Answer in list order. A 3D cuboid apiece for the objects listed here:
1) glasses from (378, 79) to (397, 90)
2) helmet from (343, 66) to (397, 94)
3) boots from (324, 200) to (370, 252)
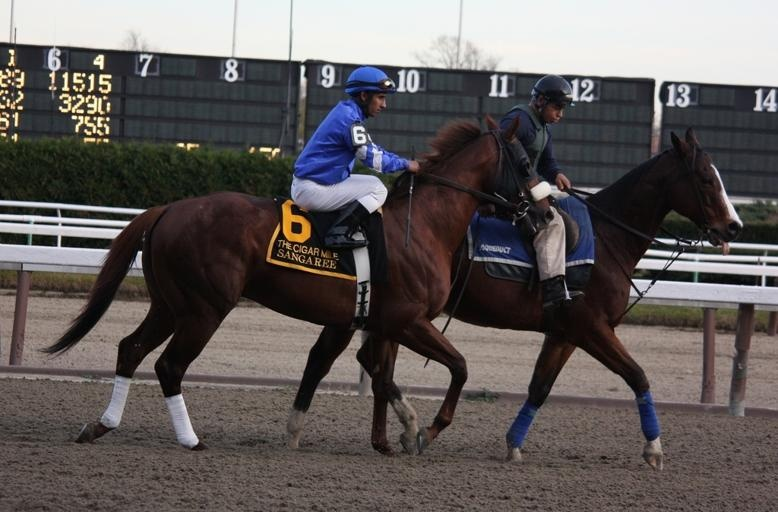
[{"bbox_3d":[-0.019,-1.677,12.879,0.116,0.109,0.091,21,16,37],"label":"glasses"},{"bbox_3d":[-0.192,-1.702,12.911,0.388,0.205,0.277,-1,3,-3],"label":"helmet"},{"bbox_3d":[-0.351,-0.300,12.701,0.493,0.505,0.213,8,-12,32],"label":"boots"}]
